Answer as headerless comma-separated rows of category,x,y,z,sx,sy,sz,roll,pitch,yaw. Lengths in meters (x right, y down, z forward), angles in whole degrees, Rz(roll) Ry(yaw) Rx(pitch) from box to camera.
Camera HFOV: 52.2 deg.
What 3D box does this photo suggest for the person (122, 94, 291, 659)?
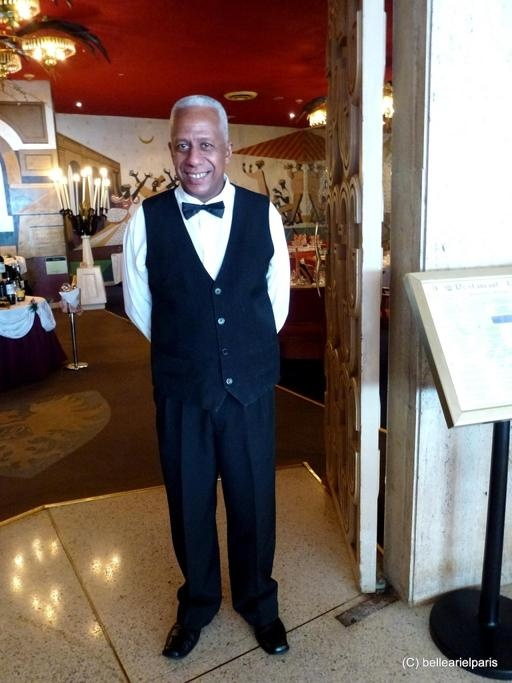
person,-0.125,0.138,1.529,0.478,1.562,0.293,-4,9,-9
